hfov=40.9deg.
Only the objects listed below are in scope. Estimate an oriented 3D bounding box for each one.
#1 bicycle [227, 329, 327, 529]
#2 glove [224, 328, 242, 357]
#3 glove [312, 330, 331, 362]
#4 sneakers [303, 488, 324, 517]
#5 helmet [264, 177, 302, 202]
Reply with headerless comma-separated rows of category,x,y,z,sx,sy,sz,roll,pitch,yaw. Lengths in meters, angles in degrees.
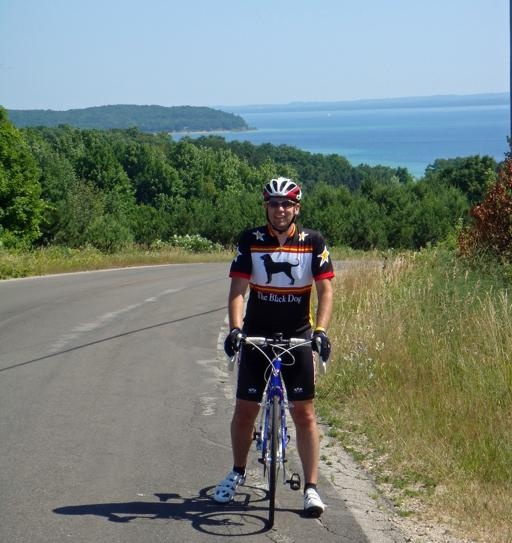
bicycle,0.140,1.109,5.435,0.578,1.398,1.210,1,4,-2
glove,-0.161,0.517,5.041,0.046,0.206,0.128,14,-24,-11
glove,0.483,0.525,4.974,0.059,0.238,0.132,-5,4,-12
sneakers,0.444,1.715,5.158,0.160,0.193,0.181,1,4,5
helmet,0.225,-0.616,5.344,0.146,0.176,0.263,2,-1,9
